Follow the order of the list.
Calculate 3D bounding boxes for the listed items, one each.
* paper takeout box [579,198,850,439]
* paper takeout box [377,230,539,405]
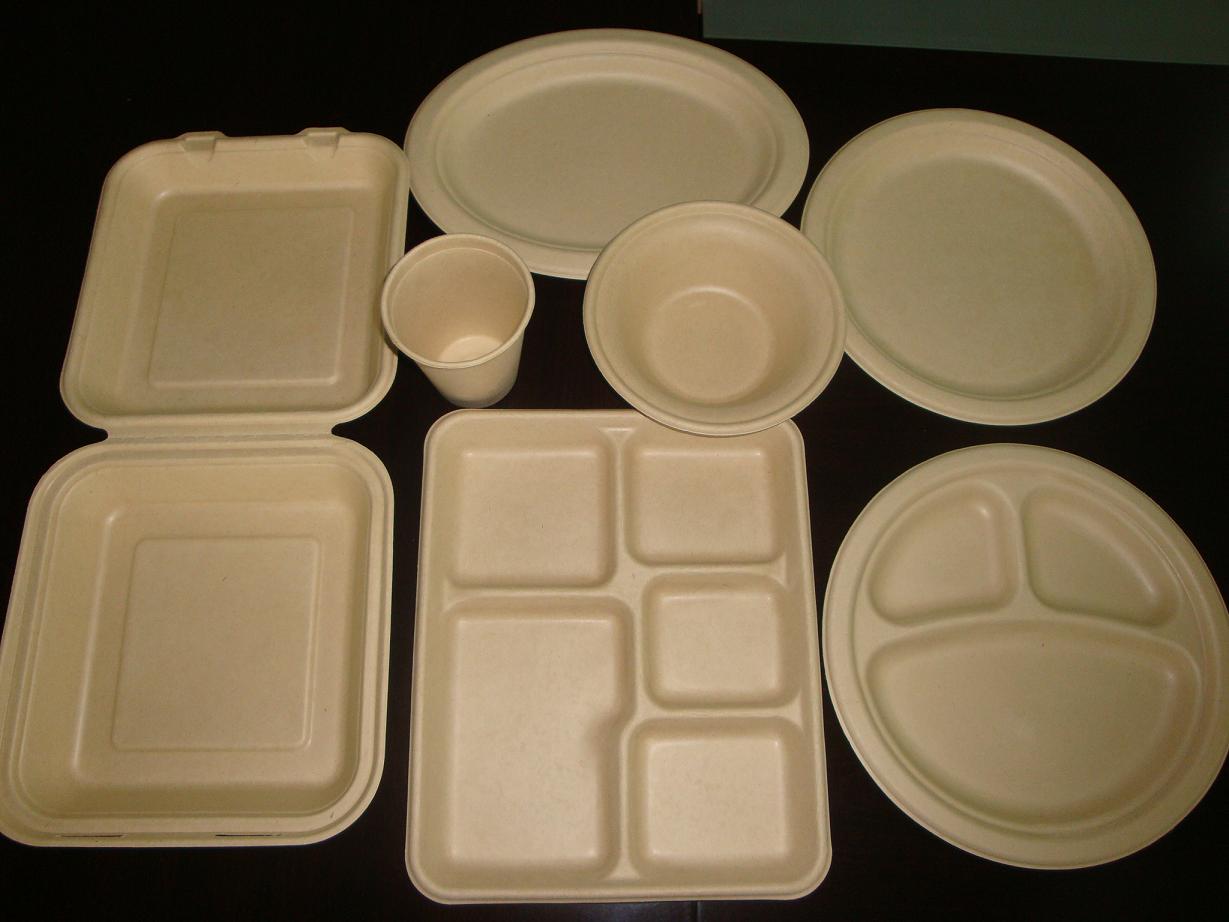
[{"bbox_3d":[0.159,-0.219,2.108,0.408,0.153,0.390,-1,78,1],"label":"paper takeout box"},{"bbox_3d":[-0.244,-0.254,2.107,0.232,0.198,0.266,14,78,1],"label":"paper takeout box"}]
